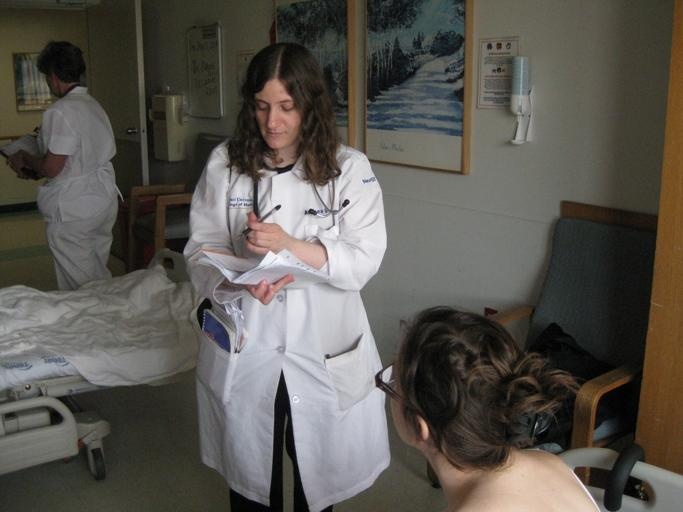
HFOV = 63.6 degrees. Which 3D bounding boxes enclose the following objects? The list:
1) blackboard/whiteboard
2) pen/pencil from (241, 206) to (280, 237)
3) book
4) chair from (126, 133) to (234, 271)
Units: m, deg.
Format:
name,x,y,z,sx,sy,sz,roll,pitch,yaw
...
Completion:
name,x,y,z,sx,sy,sz,roll,pitch,yaw
blackboard/whiteboard,-1.281,-1.793,5.064,0.049,0.680,0.533,16,32,17
pen/pencil,-0.264,-0.114,1.815,0.190,0.020,0.020,-37,25,-26
book,-0.445,0.354,1.964,0.054,0.343,0.246,-8,25,-35
chair,-1.432,-0.349,4.914,0.779,1.390,0.783,-5,14,-32
